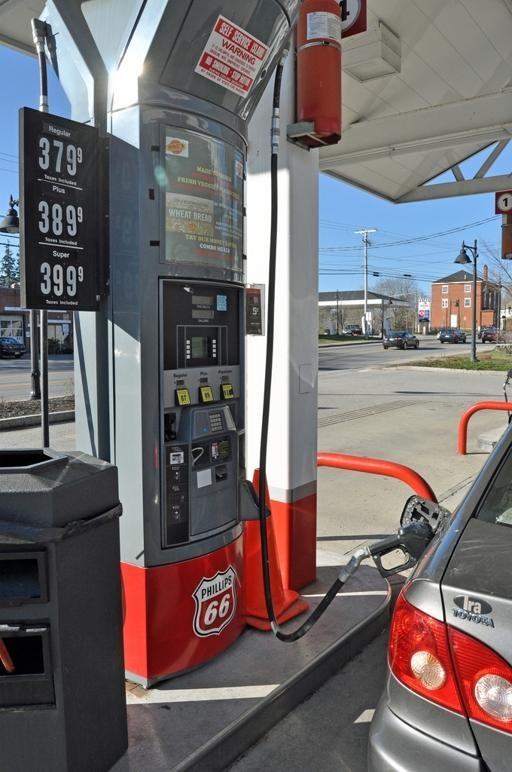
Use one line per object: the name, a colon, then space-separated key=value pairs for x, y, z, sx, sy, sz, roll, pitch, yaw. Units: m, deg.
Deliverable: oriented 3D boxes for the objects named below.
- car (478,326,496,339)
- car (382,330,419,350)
car: x=22.875 y=-4.748 z=57.802 sx=1.345 sy=1.332 sz=3.453 roll=4 pitch=17 yaw=32
car: x=11.105 y=-3.353 z=44.611 sx=2.041 sy=1.055 sz=3.384 roll=13 pitch=7 yaw=35
